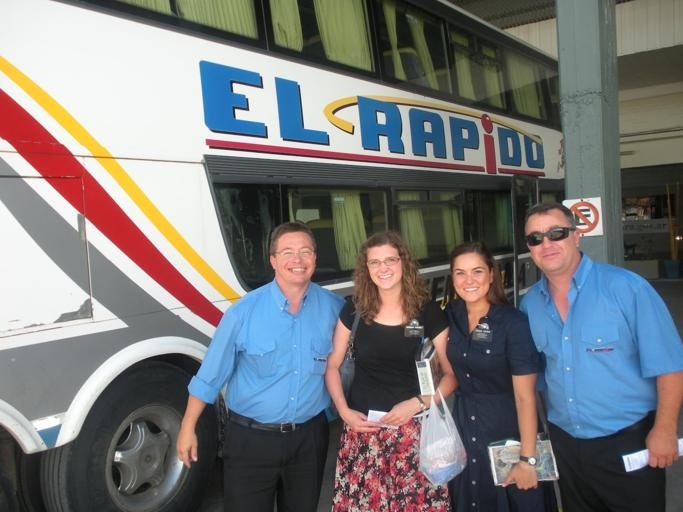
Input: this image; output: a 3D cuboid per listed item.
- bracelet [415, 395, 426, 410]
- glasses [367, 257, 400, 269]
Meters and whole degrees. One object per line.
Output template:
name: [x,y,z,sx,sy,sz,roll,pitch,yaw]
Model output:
bracelet: [0.472,0.869,3.255,0.048,0.072,0.072,-19,39,-28]
glasses: [0.257,0.039,3.322,0.194,0.061,0.055,-6,5,4]
